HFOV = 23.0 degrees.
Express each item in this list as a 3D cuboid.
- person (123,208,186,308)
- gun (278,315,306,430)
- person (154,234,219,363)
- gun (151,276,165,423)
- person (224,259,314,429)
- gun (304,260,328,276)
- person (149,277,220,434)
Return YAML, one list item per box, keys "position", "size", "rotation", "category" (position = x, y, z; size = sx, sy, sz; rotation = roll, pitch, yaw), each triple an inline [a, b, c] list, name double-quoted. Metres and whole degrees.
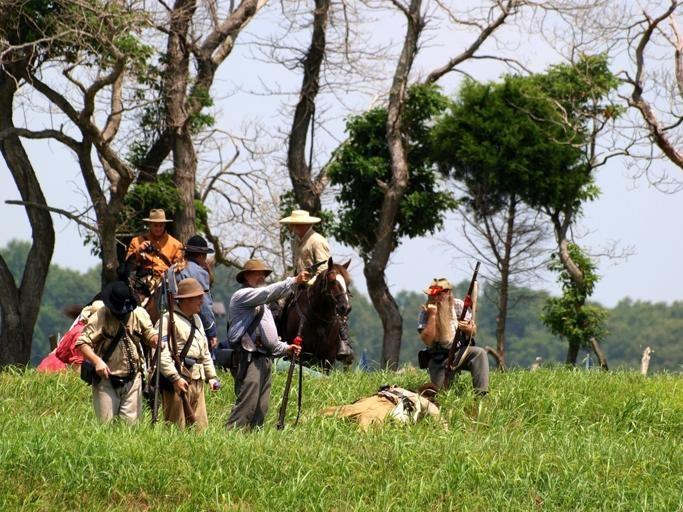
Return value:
- position: [-4.632, 0.013, 40.784]
  size: [1.157, 2.958, 1.114]
  rotation: [0, 2, -40]
  category: "person"
- position: [-1.227, 2.680, 37.753]
  size: [0.602, 2.285, 0.644]
  rotation: [2, 3, 44]
  category: "gun"
- position: [-3.616, 0.998, 38.027]
  size: [1.049, 3.174, 1.059]
  rotation: [2, 3, 14]
  category: "person"
- position: [-4.091, 2.181, 37.141]
  size: [0.464, 3.224, 0.097]
  rotation: [4, 2, 18]
  category: "gun"
- position: [-1.861, 1.948, 37.152]
  size: [1.424, 3.710, 1.090]
  rotation: [5, -8, -3]
  category: "person"
- position: [-0.598, 0.224, 39.858]
  size: [0.678, 0.213, 0.262]
  rotation: [-19, -52, 28]
  category: "gun"
- position: [-3.366, 2.576, 37.159]
  size: [1.270, 4.064, 1.025]
  rotation: [-6, 6, -39]
  category: "person"
